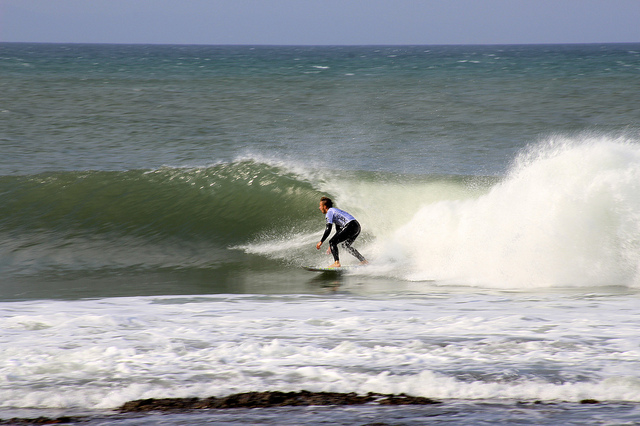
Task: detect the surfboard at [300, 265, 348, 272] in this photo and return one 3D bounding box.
[{"bbox_3d":[-0.049,1.090,14.834,1.454,0.137,0.116,1,44,11],"label":"surfboard"}]

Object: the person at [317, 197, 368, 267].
[{"bbox_3d":[0.483,0.390,14.958,0.941,1.366,1.011,1,21,0],"label":"person"}]

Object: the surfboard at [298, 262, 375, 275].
[{"bbox_3d":[0.215,1.062,14.942,1.379,0.136,0.624,5,13,23],"label":"surfboard"}]
